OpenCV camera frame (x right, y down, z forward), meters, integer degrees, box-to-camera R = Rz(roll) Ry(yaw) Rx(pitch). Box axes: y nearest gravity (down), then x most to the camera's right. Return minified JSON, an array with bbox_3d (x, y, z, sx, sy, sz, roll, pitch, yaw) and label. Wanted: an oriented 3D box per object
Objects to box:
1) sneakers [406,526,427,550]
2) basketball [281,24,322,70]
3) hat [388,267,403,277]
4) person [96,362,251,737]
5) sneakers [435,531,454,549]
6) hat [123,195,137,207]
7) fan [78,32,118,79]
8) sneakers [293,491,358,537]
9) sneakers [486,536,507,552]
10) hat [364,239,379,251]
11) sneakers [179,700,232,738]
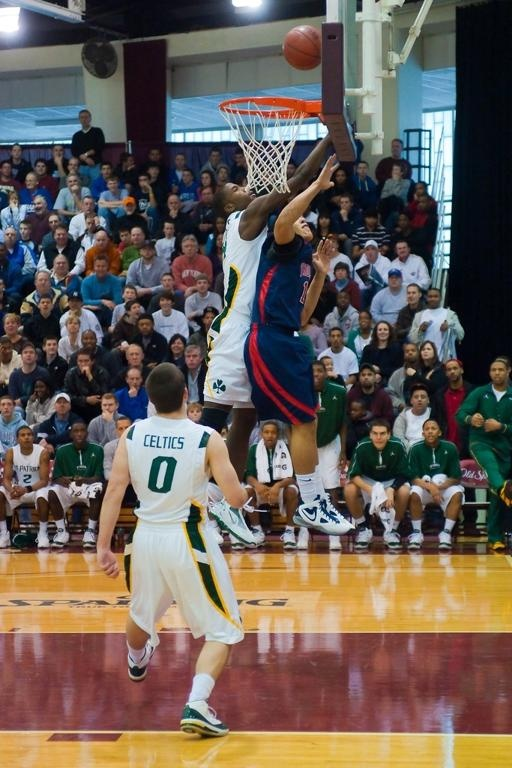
[{"bbox_3d":[1.281,1.235,7.091,0.136,0.178,0.405,0,-7,10],"label":"sneakers"},{"bbox_3d":[0.190,-1.635,4.298,0.222,0.221,0.219,-16,20,-32],"label":"basketball"},{"bbox_3d":[1.486,-1.213,9.513,0.170,0.086,0.262,-1,-5,11],"label":"hat"},{"bbox_3d":[-0.271,0.511,2.824,0.500,1.161,0.344,-3,-3,27],"label":"person"},{"bbox_3d":[1.482,1.228,6.965,0.106,0.130,0.310,-1,-10,9],"label":"sneakers"},{"bbox_3d":[-1.659,-2.421,11.583,0.139,0.120,0.210,-2,-21,-3],"label":"hat"},{"bbox_3d":[-2.429,-5.081,13.696,0.519,0.551,0.311,-1,-3,-13],"label":"fan"},{"bbox_3d":[0.281,0.547,3.641,0.248,0.116,0.135,18,16,0],"label":"sneakers"},{"bbox_3d":[1.846,1.246,6.772,0.070,0.072,0.187,0,-9,-3],"label":"sneakers"},{"bbox_3d":[1.310,-1.598,10.032,0.140,0.088,0.177,8,25,4],"label":"hat"},{"bbox_3d":[-0.162,0.996,2.619,0.075,0.097,0.208,-10,-26,36],"label":"sneakers"}]
